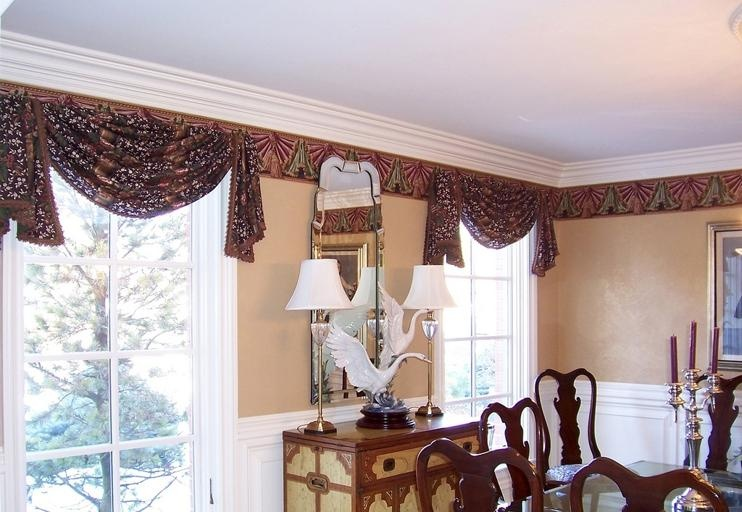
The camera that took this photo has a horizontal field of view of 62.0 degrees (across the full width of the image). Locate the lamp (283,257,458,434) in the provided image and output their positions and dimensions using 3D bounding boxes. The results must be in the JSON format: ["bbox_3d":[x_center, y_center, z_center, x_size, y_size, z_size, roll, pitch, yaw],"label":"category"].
[{"bbox_3d":[-0.122,0.660,4.225,0.654,1.496,0.619,-6,-8,44],"label":"lamp"}]

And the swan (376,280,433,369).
[{"bbox_3d":[0.229,0.489,4.557,0.279,0.609,0.320,1,3,-39],"label":"swan"}]

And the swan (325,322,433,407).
[{"bbox_3d":[0.039,0.671,4.193,0.604,0.524,0.431,2,2,-36],"label":"swan"}]
